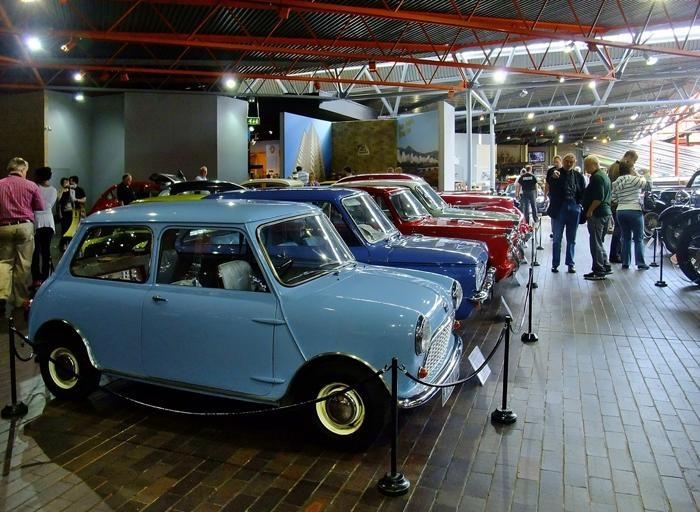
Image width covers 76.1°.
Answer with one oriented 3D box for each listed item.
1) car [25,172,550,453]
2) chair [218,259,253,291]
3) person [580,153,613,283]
[{"bbox_3d":[-0.989,0.318,4.596,3.609,1.599,2.182,2,6,18],"label":"car"},{"bbox_3d":[-1.009,0.167,3.952,0.218,0.221,0.317,-8,13,-32],"label":"chair"},{"bbox_3d":[5.123,-0.811,9.306,0.658,2.516,0.697,5,12,29],"label":"person"}]
